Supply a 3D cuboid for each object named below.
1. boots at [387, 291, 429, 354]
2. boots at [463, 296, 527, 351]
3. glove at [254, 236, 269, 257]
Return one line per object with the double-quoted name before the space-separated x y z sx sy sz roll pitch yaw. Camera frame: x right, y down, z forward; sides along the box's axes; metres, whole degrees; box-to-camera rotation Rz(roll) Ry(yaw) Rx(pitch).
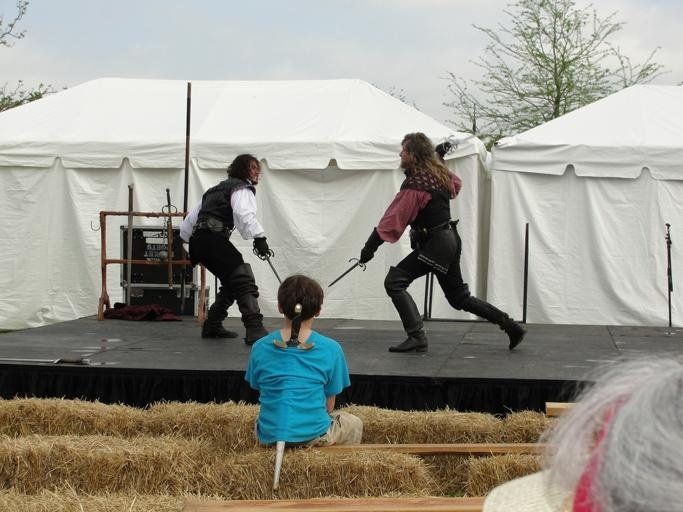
"boots" 0.529 0.502 7.226 0.296 0.471 0.336 -2 2 5
"boots" 1.358 0.596 8.050 0.542 0.217 0.126 29 35 13
"glove" -0.671 -0.085 7.676 0.131 0.159 0.188 -2 2 -7
